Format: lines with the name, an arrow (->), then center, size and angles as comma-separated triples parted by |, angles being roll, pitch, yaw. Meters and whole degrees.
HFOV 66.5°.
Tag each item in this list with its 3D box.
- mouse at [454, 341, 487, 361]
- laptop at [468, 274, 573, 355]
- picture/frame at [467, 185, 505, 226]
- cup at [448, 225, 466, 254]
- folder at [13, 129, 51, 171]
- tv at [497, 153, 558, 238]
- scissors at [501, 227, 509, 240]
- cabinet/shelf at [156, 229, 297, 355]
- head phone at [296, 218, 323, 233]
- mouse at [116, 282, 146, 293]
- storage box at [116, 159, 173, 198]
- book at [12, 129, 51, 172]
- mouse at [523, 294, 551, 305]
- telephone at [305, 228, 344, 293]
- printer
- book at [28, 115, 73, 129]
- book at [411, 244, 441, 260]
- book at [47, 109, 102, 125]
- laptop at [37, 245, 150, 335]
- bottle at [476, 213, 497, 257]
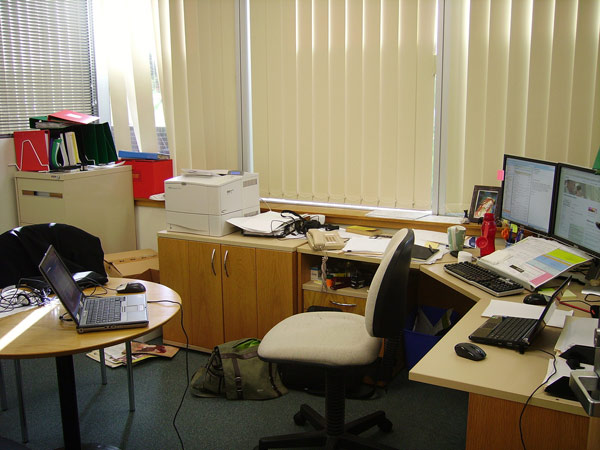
mouse -> 0.634, 0.455, 1.690 | 0.051, 0.032, 0.091 | -12, 13, -41
laptop -> 0.841, 0.272, 1.787 | 0.281, 0.211, 0.335 | 2, 14, 35
picture/frame -> 1.197, -0.125, 2.922 | 0.240, 0.313, 0.023 | 6, -8, 42
cup -> 0.946, 0.078, 2.763 | 0.086, 0.155, 0.173 | 7, 19, 30
folder -> -2.165, -0.613, 3.727 | 0.308, 0.325, 0.033 | 2, 4, 18
tv -> 1.284, -0.156, 2.576 | 0.037, 0.516, 0.406 | -11, 17, -19
scissors -> 1.238, 0.046, 2.737 | 0.042, 0.052, 0.055 | -4, 15, 38
cabinet/shelf -> -0.454, 0.409, 3.032 | 0.789, 0.700, 0.319 | 3, 8, 20
head phone -> 0.053, -0.002, 3.213 | 0.146, 0.052, 0.094 | 2, 9, 13
mouse -> -0.882, 0.325, 2.399 | 0.108, 0.037, 0.070 | 2, 3, 0
storage box -> -1.337, -0.457, 4.060 | 0.570, 0.441, 0.319 | 7, 14, 29
book -> -2.169, -0.612, 3.717 | 0.314, 0.328, 0.046 | 5, 13, 20
mouse -> 1.068, 0.319, 2.067 | 0.089, 0.031, 0.054 | -11, 20, -14
telephone -> 0.163, 0.190, 2.970 | 0.219, 0.100, 0.373 | -3, 37, 0
printer -> -0.638, -0.197, 3.281 | 0.490, 0.403, 0.509 | 6, 11, 30
book -> -2.026, -0.822, 3.673 | 0.182, 0.059, 0.178 | 0, 5, 8
book -> 0.736, 0.160, 2.708 | 0.144, 0.032, 0.176 | 5, 18, 23
book -> -1.920, -0.917, 3.861 | 0.233, 0.056, 0.228 | 10, 17, 7
laptop -> -0.919, 0.358, 2.126 | 0.398, 0.300, 0.468 | -4, 15, -14
bottle -> 1.065, 0.067, 2.619 | 0.101, 0.255, 0.335 | 5, 17, 23
